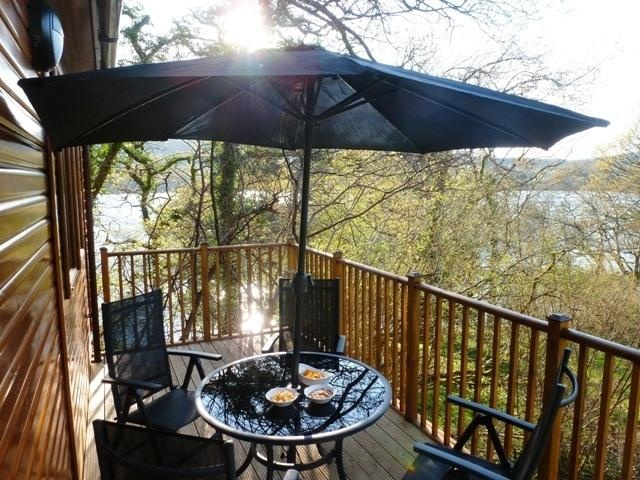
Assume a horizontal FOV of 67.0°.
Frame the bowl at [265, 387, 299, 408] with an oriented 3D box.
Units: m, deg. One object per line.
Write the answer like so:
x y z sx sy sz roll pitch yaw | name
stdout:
-0.227 0.938 2.882 0.182 0.090 0.195 3 4 0 | bowl

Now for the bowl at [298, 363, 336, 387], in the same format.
-0.024 0.886 3.156 0.161 0.076 0.266 2 -2 -19 | bowl

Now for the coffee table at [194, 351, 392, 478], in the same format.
-0.170 0.984 2.931 0.893 0.585 1.007 1 9 9 | coffee table
